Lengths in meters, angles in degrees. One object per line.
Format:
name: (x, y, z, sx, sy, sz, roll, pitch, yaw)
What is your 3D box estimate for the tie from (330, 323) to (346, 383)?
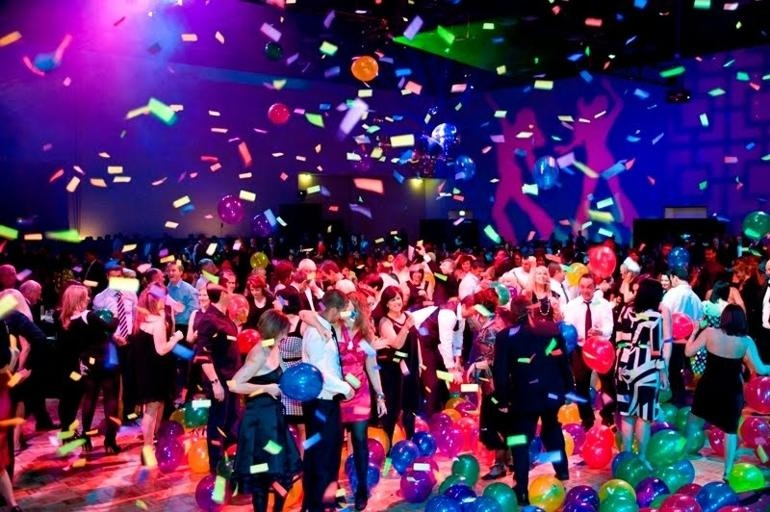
tie: (-0.402, 0.842, 5.426, 0.072, 0.576, 0.033, -7, -20, -19)

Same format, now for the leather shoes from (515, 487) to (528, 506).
leather shoes: (1.227, 2.151, 5.578, 0.120, 0.174, 0.047, -6, -9, 9)

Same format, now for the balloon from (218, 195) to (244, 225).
balloon: (-2.941, -0.921, 11.950, 0.388, 0.531, 0.434, -3, -10, -7)

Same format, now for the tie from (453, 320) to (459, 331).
tie: (0.779, 0.759, 6.741, 0.020, 0.089, 0.090, 11, -16, 2)

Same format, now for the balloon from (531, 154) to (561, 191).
balloon: (3.210, -1.746, 12.423, 0.407, 0.632, 0.533, -6, -10, 10)

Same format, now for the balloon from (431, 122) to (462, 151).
balloon: (1.456, -3.018, 15.262, 0.523, 0.863, 1.020, -4, -10, 2)
